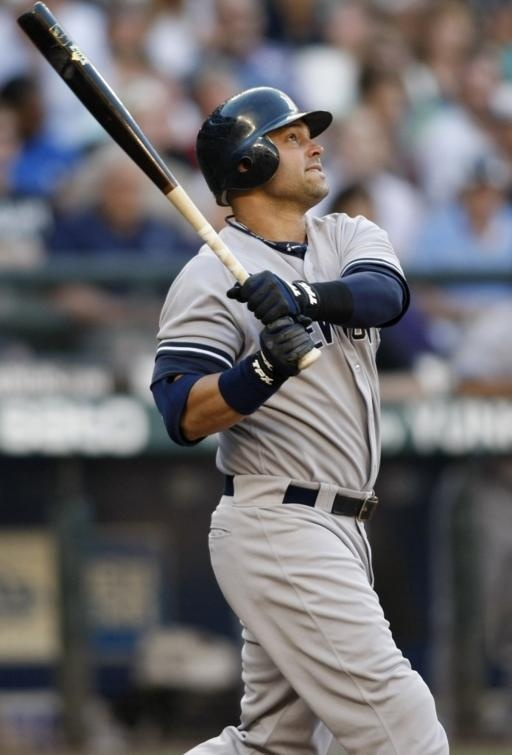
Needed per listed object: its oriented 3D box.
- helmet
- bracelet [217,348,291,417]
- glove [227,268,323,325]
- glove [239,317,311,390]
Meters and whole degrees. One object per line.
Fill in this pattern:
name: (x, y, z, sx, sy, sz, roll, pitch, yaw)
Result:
helmet: (-0.016, -0.552, 2.821, 0.332, 0.217, 0.224, -13, -3, 12)
bracelet: (0.007, 0.002, 2.450, 0.113, 0.106, 0.146, 35, 12, -1)
glove: (0.042, -0.161, 2.400, 0.141, 0.053, 0.132, 22, 5, -9)
glove: (0.060, -0.043, 2.358, 0.148, 0.064, 0.111, -28, -16, 21)
